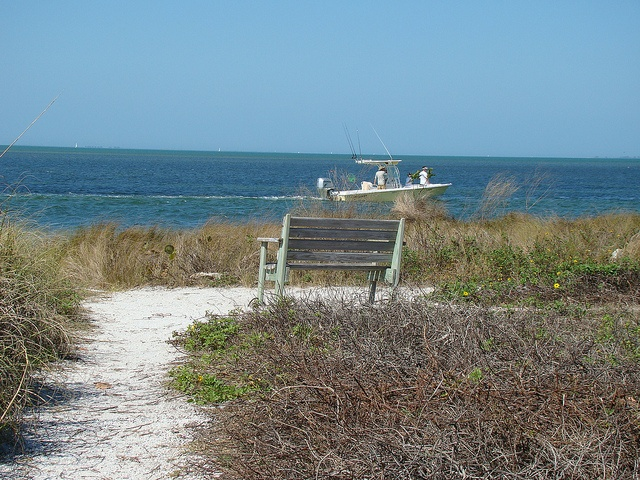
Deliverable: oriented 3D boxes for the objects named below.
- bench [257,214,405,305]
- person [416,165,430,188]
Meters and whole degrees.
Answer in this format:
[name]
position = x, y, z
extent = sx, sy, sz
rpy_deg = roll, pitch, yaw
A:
[bench]
position = 0.179, 0.206, 7.453
extent = 1.487, 0.949, 0.602
rpy_deg = 1, 4, -26
[person]
position = 3.816, -2.327, 24.725
extent = 0.275, 0.753, 1.039
rpy_deg = 1, 8, 11
